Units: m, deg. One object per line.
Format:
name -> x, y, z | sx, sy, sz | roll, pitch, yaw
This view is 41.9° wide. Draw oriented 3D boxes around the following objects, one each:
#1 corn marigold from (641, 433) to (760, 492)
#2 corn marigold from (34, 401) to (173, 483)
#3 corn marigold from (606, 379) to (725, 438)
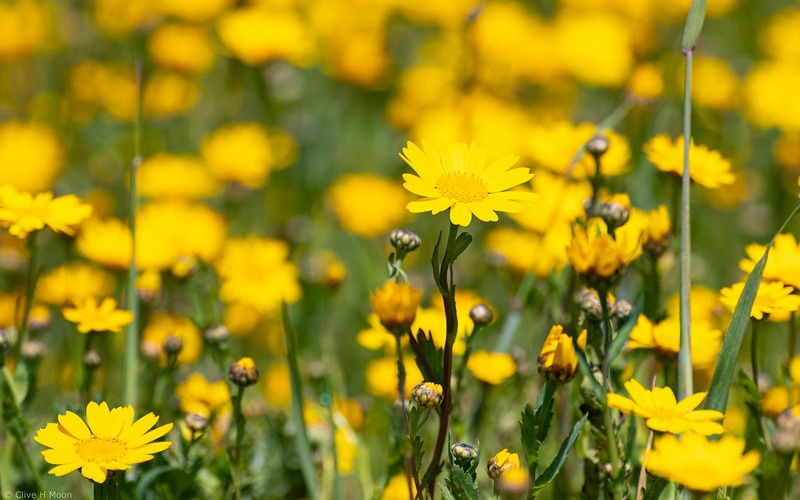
corn marigold -> 0.704, 0.493, 2.464 | 0.256, 0.136, 0.126 | -4, -7, 4
corn marigold -> -0.710, 0.450, 2.473 | 0.196, 0.076, 0.234 | -6, 36, -13
corn marigold -> 0.620, 0.373, 2.441 | 0.141, 0.053, 0.167 | -2, 33, -26
